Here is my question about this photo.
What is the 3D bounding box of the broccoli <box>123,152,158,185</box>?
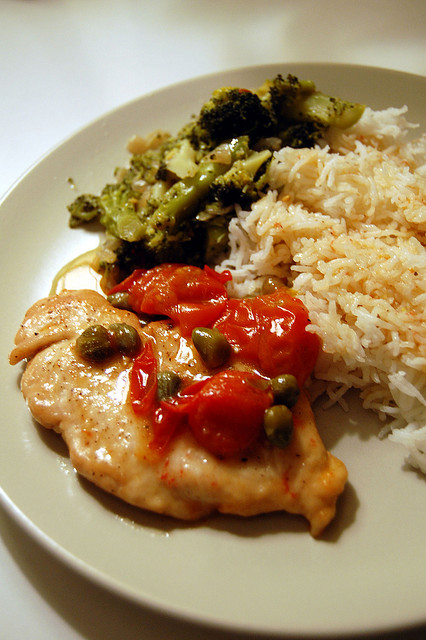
[{"bbox_3d":[-0.501,-1.000,4.381,0.272,0.075,0.254,-11,57,35],"label":"broccoli"}]

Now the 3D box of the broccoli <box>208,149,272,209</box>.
[{"bbox_3d":[0.180,-0.870,4.023,0.446,0.271,0.111,-31,19,14],"label":"broccoli"}]

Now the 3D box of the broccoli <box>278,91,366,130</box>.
[{"bbox_3d":[0.722,-1.360,4.186,0.450,0.118,0.264,4,66,4],"label":"broccoli"}]

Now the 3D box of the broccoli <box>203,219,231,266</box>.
[{"bbox_3d":[0.020,-0.506,4.233,0.285,0.242,0.064,-1,32,-8],"label":"broccoli"}]

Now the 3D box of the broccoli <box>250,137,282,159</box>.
[{"bbox_3d":[0.370,-1.149,4.209,0.181,0.057,0.150,-6,57,-5],"label":"broccoli"}]
